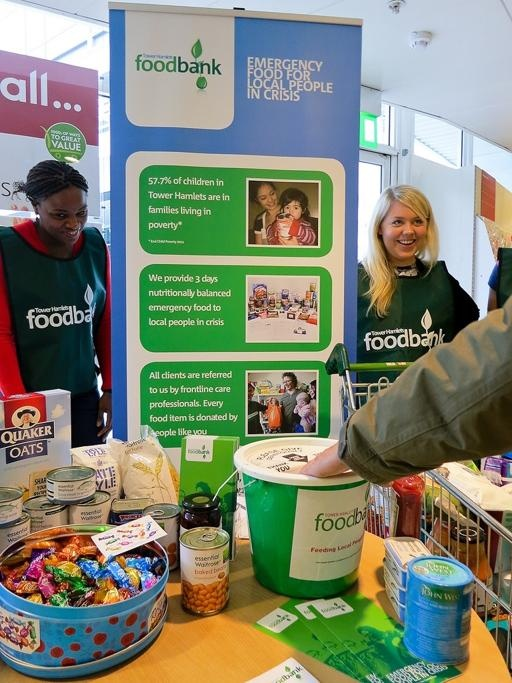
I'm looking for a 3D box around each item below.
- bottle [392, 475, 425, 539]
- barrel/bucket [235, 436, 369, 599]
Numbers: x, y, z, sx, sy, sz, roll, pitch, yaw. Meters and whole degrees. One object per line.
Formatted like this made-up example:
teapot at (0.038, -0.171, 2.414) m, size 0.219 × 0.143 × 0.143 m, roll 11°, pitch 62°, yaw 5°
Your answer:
bottle at (0.373, 0.405, 1.354) m, size 0.069 × 0.148 × 0.062 m, roll 2°, pitch 25°, yaw 19°
barrel/bucket at (0.099, 0.330, 1.102) m, size 0.244 × 0.195 × 0.255 m, roll 0°, pitch 6°, yaw 0°
